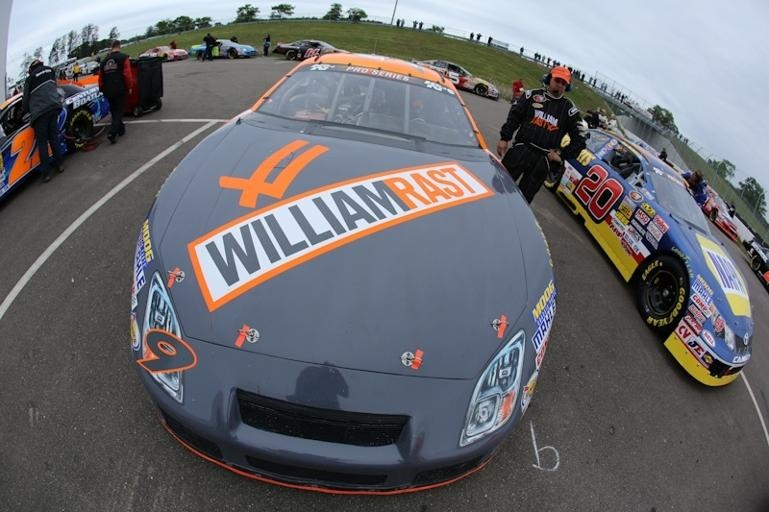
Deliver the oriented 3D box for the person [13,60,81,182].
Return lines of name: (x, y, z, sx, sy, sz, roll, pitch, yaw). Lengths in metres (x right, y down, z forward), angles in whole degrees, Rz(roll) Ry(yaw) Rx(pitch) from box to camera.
person: (-5.010, -1.971, 6.292, 0.485, 1.307, 1.141, -9, 45, -32)

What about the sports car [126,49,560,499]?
sports car: (-0.386, 0.130, 3.616, 3.100, 2.070, 3.367, -12, 47, -35)
